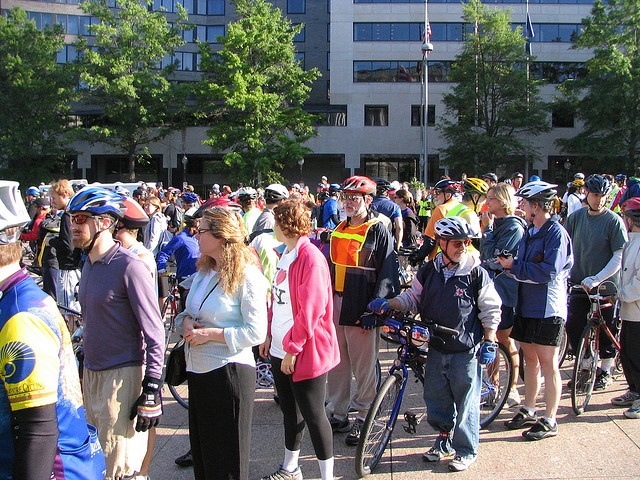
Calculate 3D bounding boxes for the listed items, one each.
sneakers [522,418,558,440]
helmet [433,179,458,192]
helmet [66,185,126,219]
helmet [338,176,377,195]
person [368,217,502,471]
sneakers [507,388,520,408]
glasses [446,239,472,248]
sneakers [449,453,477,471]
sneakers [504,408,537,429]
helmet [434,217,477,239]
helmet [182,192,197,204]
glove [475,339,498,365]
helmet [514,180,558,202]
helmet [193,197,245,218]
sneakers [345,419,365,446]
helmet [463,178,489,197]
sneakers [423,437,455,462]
[{"bbox_3d":[2.944,2.502,10.128,0.514,0.250,0.203,-1,-1,-26],"label":"sneakers"},{"bbox_3d":[2.032,-0.878,12.219,0.266,0.113,0.203,6,1,15],"label":"helmet"},{"bbox_3d":[-2.506,-0.443,8.701,0.486,0.281,0.355,-6,10,-29],"label":"helmet"},{"bbox_3d":[0.565,-0.736,10.427,0.356,0.172,0.252,6,0,-19],"label":"helmet"},{"bbox_3d":[1.678,1.299,9.628,1.162,3.162,0.488,0,6,14],"label":"person"},{"bbox_3d":[2.758,2.255,10.891,0.138,0.200,0.436,-13,-16,17],"label":"sneakers"},{"bbox_3d":[1.778,0.046,9.583,0.343,0.130,0.152,-6,7,-28],"label":"glasses"},{"bbox_3d":[1.809,2.784,9.613,0.374,0.162,0.138,-9,-7,-41],"label":"sneakers"},{"bbox_3d":[2.736,2.431,10.381,0.483,0.251,0.196,-2,0,-21],"label":"sneakers"},{"bbox_3d":[1.692,-0.120,9.536,0.394,0.222,0.277,-5,-3,30],"label":"helmet"},{"bbox_3d":[-2.407,-0.774,14.119,0.213,0.123,0.204,1,-1,45],"label":"helmet"},{"bbox_3d":[2.105,1.411,9.631,0.208,0.309,0.140,12,-4,9],"label":"glove"},{"bbox_3d":[2.952,-0.647,10.363,0.392,0.174,0.297,6,-1,9],"label":"helmet"},{"bbox_3d":[-1.395,-0.430,10.583,0.566,0.235,0.411,-2,-12,-33],"label":"helmet"},{"bbox_3d":[0.486,2.558,10.095,0.149,0.206,0.478,2,15,22],"label":"sneakers"},{"bbox_3d":[2.461,-0.834,12.017,0.326,0.193,0.252,15,19,3],"label":"helmet"},{"bbox_3d":[1.521,2.685,9.810,0.520,0.260,0.193,4,-3,-32],"label":"sneakers"}]
